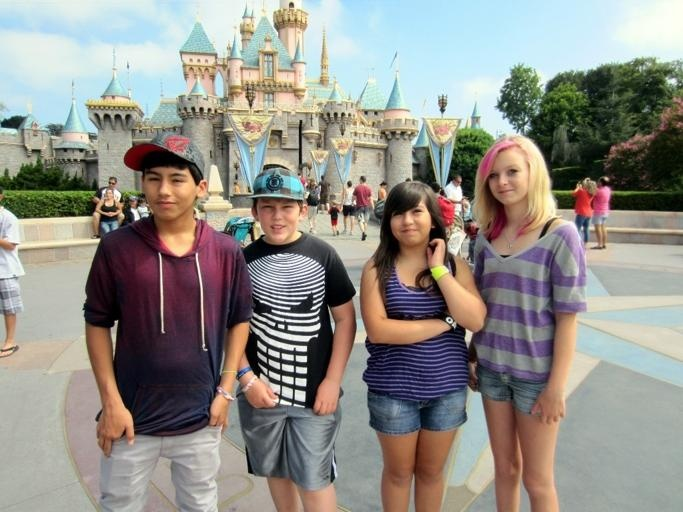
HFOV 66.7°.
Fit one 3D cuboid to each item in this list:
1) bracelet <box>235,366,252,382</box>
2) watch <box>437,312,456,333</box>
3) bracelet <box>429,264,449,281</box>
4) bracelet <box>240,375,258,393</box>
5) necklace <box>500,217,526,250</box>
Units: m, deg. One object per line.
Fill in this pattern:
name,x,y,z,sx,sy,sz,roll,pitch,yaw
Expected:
bracelet,-0.522,0.629,2.773,0.075,0.030,0.064,-23,-18,36
watch,0.581,0.362,2.877,0.052,0.095,0.072,-41,27,-1
bracelet,0.536,0.089,2.871,0.083,0.059,0.084,-27,-4,-21
bracelet,-0.490,0.679,2.796,0.086,0.022,0.067,-44,-2,8
necklace,0.950,-0.109,2.910,0.139,0.135,0.043,10,-3,-43
